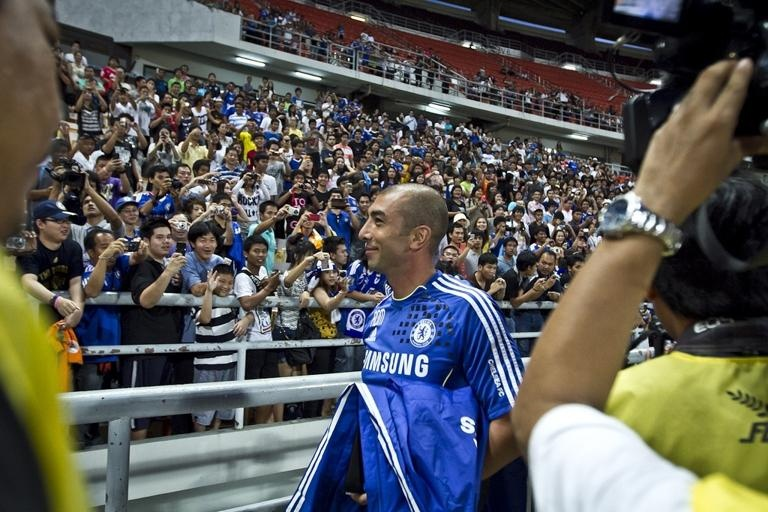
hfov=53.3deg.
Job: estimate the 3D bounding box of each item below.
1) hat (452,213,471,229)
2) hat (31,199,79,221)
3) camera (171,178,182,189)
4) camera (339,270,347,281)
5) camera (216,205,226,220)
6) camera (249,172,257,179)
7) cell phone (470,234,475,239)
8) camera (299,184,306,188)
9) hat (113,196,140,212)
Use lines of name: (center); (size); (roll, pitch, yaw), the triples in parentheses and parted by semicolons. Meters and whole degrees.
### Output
hat: (0.795, -0.381, 7.929); (0.202, 0.118, 0.262); (1, -17, 6)
hat: (-1.845, -0.246, 4.286); (0.226, 0.115, 0.145); (1, 1, -15)
camera: (-1.800, -0.620, 6.603); (0.078, 0.050, 0.082); (0, 8, -36)
camera: (-0.278, 0.138, 5.353); (0.061, 0.066, 0.059); (9, -14, -37)
camera: (-1.305, -0.357, 6.073); (0.084, 0.079, 0.131); (1, 1, -4)
camera: (-1.258, -0.774, 7.296); (0.061, 0.047, 0.078); (55, 10, -40)
cell phone: (0.850, -0.182, 7.441); (0.047, 0.057, 0.082); (0, -5, -11)
camera: (-0.824, -0.698, 7.627); (0.063, 0.025, 0.087); (-2, 4, 6)
hat: (-1.962, -0.391, 5.813); (0.138, 0.105, 0.204); (4, -32, -42)
